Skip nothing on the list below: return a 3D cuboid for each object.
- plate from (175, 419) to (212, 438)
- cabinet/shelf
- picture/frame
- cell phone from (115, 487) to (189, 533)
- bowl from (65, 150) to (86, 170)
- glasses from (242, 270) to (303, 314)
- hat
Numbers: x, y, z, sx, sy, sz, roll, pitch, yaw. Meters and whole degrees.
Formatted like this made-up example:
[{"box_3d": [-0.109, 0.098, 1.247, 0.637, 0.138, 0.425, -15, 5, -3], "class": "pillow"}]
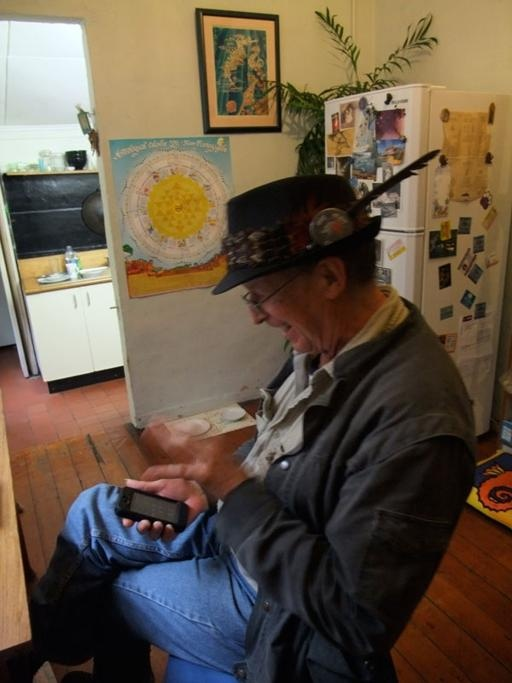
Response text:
[{"box_3d": [-0.374, 0.510, 3.122, 0.112, 0.016, 0.110, -7, 22, -32], "class": "plate"}, {"box_3d": [-1.353, -0.101, 3.879, 0.867, 0.828, 0.323, -11, 15, -28], "class": "cabinet/shelf"}, {"box_3d": [-0.118, -1.498, 2.838, 0.666, 0.728, 0.044, -9, 18, -26], "class": "picture/frame"}, {"box_3d": [-0.223, 0.365, 1.140, 0.177, 0.078, 0.040, 17, -29, -16], "class": "cell phone"}, {"box_3d": [-1.490, -1.498, 4.319, 0.179, 0.134, 0.154, 2, 33, 1], "class": "bowl"}, {"box_3d": [0.026, -0.083, 0.913, 0.069, 0.019, 0.069, -44, -5, 4], "class": "glasses"}, {"box_3d": [0.051, -0.192, 0.922, 0.250, 0.120, 0.214, -27, 6, 5], "class": "hat"}]
